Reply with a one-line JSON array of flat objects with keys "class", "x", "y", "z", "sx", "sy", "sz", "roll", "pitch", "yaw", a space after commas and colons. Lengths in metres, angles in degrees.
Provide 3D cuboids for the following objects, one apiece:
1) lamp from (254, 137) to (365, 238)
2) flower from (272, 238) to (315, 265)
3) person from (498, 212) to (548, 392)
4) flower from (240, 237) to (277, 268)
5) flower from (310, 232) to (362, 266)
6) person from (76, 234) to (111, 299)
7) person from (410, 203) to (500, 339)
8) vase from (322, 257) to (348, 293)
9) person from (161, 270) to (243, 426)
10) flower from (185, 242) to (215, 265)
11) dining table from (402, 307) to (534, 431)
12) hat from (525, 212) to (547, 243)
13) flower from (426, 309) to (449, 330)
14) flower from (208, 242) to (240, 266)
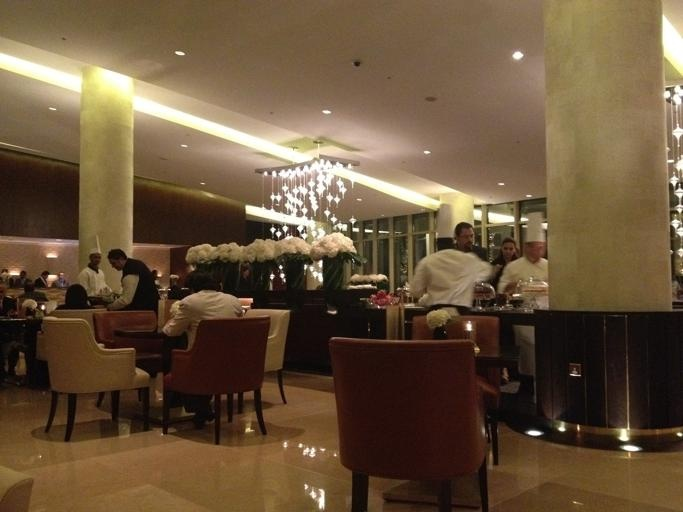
[{"class": "lamp", "x": -1.282, "y": -2.122, "z": 16.555, "sx": 1.461, "sy": 2.153, "sz": 1.754, "roll": -4, "pitch": -1, "yaw": 12}, {"class": "flower", "x": -0.699, "y": -0.080, "z": 7.907, "sx": 0.410, "sy": 0.240, "sz": 0.365, "roll": 4, "pitch": -3, "yaw": 21}, {"class": "person", "x": 2.190, "y": 0.509, "z": 6.302, "sx": 0.724, "sy": 1.966, "sz": 0.587, "roll": -7, "pitch": 7, "yaw": -12}, {"class": "flower", "x": -1.199, "y": -0.099, "z": 8.093, "sx": 0.412, "sy": 0.228, "sz": 0.314, "roll": 0, "pitch": -6, "yaw": 35}, {"class": "flower", "x": -0.170, "y": -0.107, "z": 7.812, "sx": 0.486, "sy": 0.343, "sz": 0.490, "roll": 2, "pitch": -6, "yaw": -27}, {"class": "person", "x": -4.105, "y": 0.178, "z": 9.198, "sx": 0.484, "sy": 1.066, "sz": 0.572, "roll": -9, "pitch": -6, "yaw": 23}, {"class": "person", "x": 1.184, "y": 0.417, "z": 6.015, "sx": 0.811, "sy": 1.592, "sz": 0.589, "roll": 1, "pitch": 29, "yaw": 13}, {"class": "vase", "x": -0.119, "y": 0.273, "z": 7.968, "sx": 0.432, "sy": 0.666, "sz": 0.418, "roll": -1, "pitch": -9, "yaw": 8}, {"class": "person", "x": -1.404, "y": 0.899, "z": 5.612, "sx": 0.757, "sy": 1.572, "sz": 0.800, "roll": 11, "pitch": 8, "yaw": 29}, {"class": "flower", "x": -2.167, "y": -0.012, "z": 8.561, "sx": 0.423, "sy": 0.316, "sz": 0.181, "roll": -13, "pitch": -8, "yaw": 10}, {"class": "dining table", "x": 0.968, "y": 0.825, "z": 4.076, "sx": 1.134, "sy": 0.754, "sz": 0.625, "roll": -1, "pitch": 2, "yaw": 35}, {"class": "hat", "x": 2.143, "y": -0.332, "z": 6.141, "sx": 0.213, "sy": 0.360, "sz": 0.486, "roll": 1, "pitch": -4, "yaw": 19}, {"class": "flower", "x": 0.740, "y": 0.480, "z": 4.271, "sx": 0.176, "sy": 0.164, "sz": 0.126, "roll": 1, "pitch": -4, "yaw": 25}, {"class": "flower", "x": -1.688, "y": -0.053, "z": 8.387, "sx": 0.556, "sy": 0.305, "sz": 0.214, "roll": 1, "pitch": -4, "yaw": 22}]
